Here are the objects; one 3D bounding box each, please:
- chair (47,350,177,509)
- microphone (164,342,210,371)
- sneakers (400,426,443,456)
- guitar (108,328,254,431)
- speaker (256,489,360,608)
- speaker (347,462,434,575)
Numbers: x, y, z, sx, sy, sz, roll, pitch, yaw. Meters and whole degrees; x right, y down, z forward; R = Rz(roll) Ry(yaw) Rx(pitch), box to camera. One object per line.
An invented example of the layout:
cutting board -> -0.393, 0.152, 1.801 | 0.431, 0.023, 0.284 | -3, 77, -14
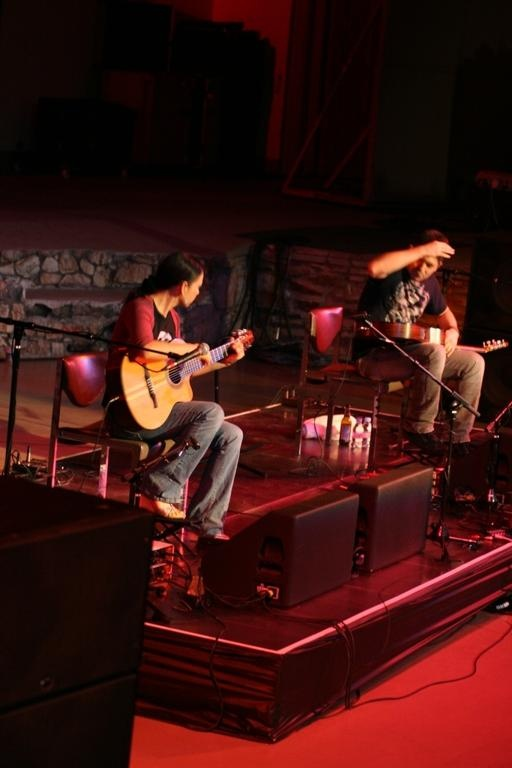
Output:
chair -> -0.630, 0.209, 2.875 | 0.464, 0.661, 0.448 | 9, 9, 28
microphone -> -0.278, -0.138, 2.652 | 0.072, 0.068, 0.267 | -13, -8, 34
sneakers -> 1.141, 0.386, 4.080 | 0.411, 0.129, 0.166 | 8, -19, -20
guitar -> -0.401, 0.037, 2.778 | 0.176, 0.323, 0.462 | 20, 15, 40
speaker -> 0.193, 0.586, 2.169 | 0.193, 0.265, 0.356 | 9, 13, 40
speaker -> 0.558, 0.568, 2.564 | 0.135, 0.332, 0.417 | 9, 10, 41
